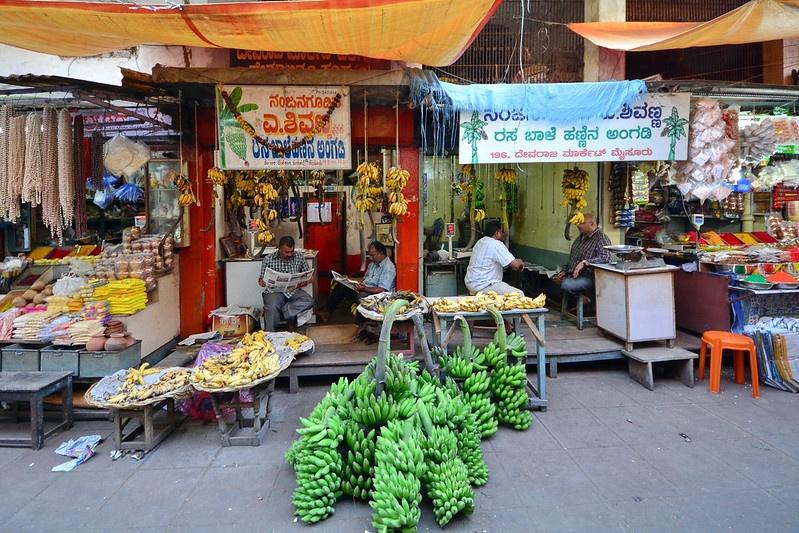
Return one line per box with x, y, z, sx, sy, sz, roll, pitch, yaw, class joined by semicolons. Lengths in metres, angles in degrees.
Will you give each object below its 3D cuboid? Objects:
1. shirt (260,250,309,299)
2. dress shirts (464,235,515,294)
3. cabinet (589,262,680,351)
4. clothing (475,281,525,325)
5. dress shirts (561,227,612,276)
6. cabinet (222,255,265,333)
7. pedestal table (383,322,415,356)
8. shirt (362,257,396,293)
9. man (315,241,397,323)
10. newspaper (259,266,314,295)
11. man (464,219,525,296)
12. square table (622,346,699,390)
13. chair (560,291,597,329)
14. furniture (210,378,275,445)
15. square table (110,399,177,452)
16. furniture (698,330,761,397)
-1.747;0.145;8.953;0.870;0.694;0.451;4;-12;20;shirt
1.409;-0.013;9.075;0.622;0.916;0.962;-6;15;-30;dress shirts
3.435;0.575;8.499;0.819;1.035;1.116;-3;3;-3;cabinet
1.376;0.508;7.931;0.682;0.208;0.635;4;14;24;clothing
3.034;-0.230;9.225;0.438;0.711;0.762;15;2;-2;dress shirts
-2.407;0.546;9.744;1.038;1.477;1.011;1;-5;-21;cabinet
-0.068;1.016;8.072;0.594;0.500;0.469;0;0;1;pedestal table
-0.270;0.143;8.834;0.424;0.580;0.720;0;13;-25;shirt
-0.675;0.267;8.778;1.259;1.237;0.945;4;12;-5;man
-1.674;0.218;8.615;0.492;0.339;0.499;-2;6;35;newspaper
1.505;0.048;9.037;0.975;1.453;0.852;-1;3;3;man
3.572;1.307;7.924;0.653;0.411;0.724;-1;8;4;square table
3.091;0.707;9.426;0.395;0.517;0.409;12;9;17;chair
-1.852;1.798;7.005;0.733;0.574;0.776;-1;3;-3;furniture
-3.053;1.842;6.937;0.431;0.492;0.780;-2;1;-5;square table
4.469;1.317;7.831;0.650;0.676;0.602;4;3;4;furniture
